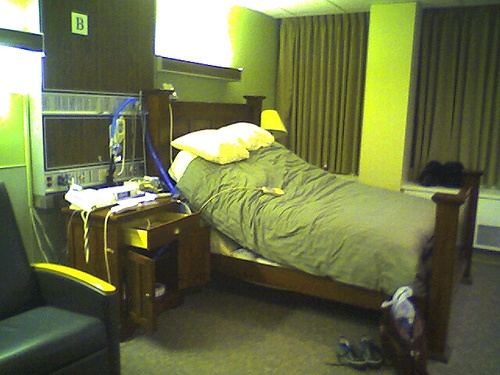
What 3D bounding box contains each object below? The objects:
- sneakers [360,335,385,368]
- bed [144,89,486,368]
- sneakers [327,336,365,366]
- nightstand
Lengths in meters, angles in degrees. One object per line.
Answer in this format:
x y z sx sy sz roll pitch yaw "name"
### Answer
0.764 1.042 2.586 0.095 0.080 0.188 -7 33 -11 "sneakers"
0.389 0.008 3.517 2.574 1.758 1.652 9 17 28 "bed"
0.613 1.013 2.546 0.168 0.060 0.171 -11 21 -20 "sneakers"
-0.824 0.542 3.008 0.851 0.852 0.784 6 10 23 "nightstand"
